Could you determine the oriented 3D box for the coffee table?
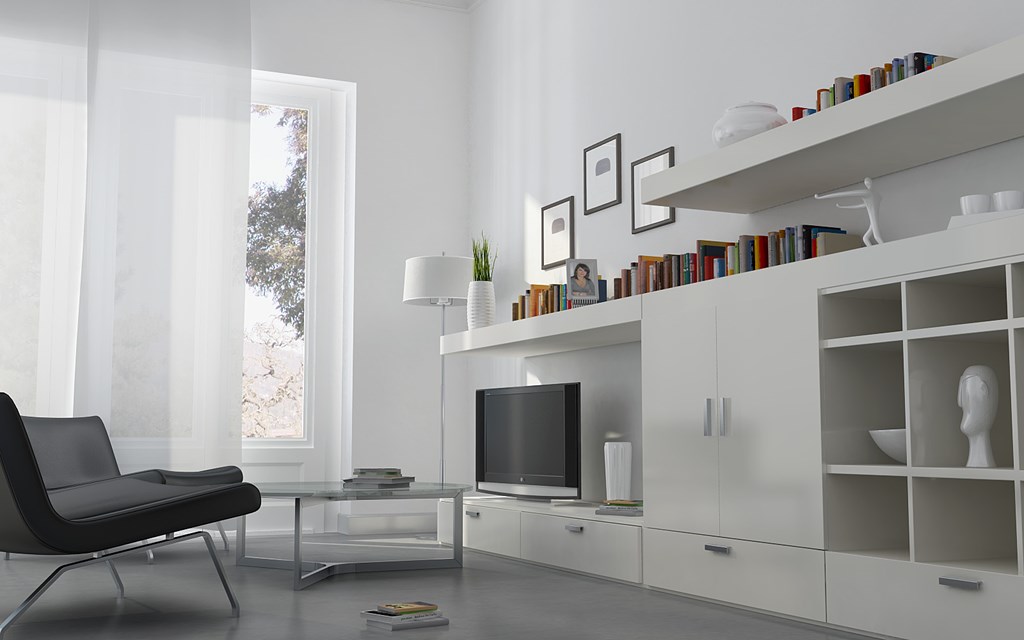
[{"bbox_3d":[-1.037,1.306,4.889,1.318,0.547,1.377,4,-6,-25],"label":"coffee table"}]

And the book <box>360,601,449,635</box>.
[{"bbox_3d":[-0.485,1.341,3.468,0.392,0.075,0.262,3,-5,-14],"label":"book"}]

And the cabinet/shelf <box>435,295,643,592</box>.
[{"bbox_3d":[0.218,0.809,5.055,0.466,1.171,1.993,6,-10,-32],"label":"cabinet/shelf"}]

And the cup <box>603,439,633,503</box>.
[{"bbox_3d":[0.660,0.934,4.717,0.152,0.340,0.124,2,-5,0],"label":"cup"}]

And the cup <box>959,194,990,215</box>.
[{"bbox_3d":[1.883,-0.470,3.084,0.113,0.082,0.106,-1,-3,0],"label":"cup"}]

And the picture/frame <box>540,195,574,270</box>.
[{"bbox_3d":[0.354,-0.677,5.884,0.028,0.522,0.466,-1,2,-28],"label":"picture/frame"}]

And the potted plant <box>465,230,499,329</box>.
[{"bbox_3d":[-0.241,-0.298,6.180,0.343,0.655,0.330,0,0,-15],"label":"potted plant"}]
